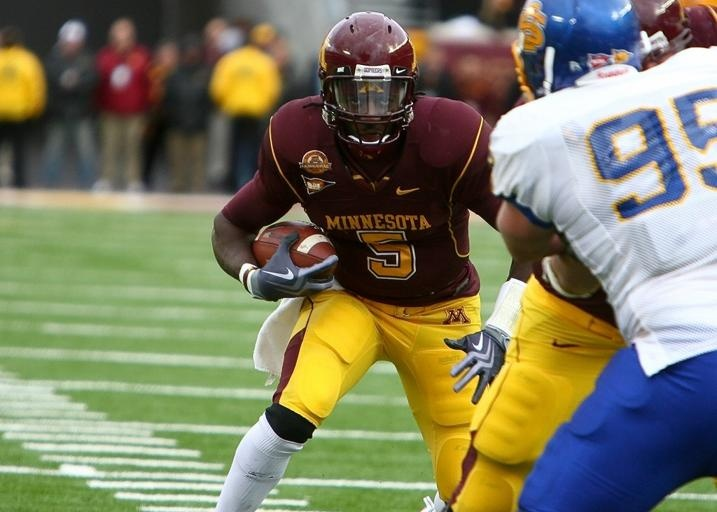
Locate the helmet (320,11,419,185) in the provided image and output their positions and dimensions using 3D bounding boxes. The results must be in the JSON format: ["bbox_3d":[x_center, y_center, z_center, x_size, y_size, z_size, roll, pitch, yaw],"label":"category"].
[{"bbox_3d":[0.021,-0.558,3.367,0.344,0.570,0.277,6,11,17],"label":"helmet"}]

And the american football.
[{"bbox_3d":[-0.208,-0.041,3.467,0.266,0.166,0.181,19,-5,26],"label":"american football"}]

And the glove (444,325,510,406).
[{"bbox_3d":[0.372,0.313,3.182,0.276,0.237,0.198,-13,17,-29],"label":"glove"}]

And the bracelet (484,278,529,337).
[{"bbox_3d":[0.494,0.166,3.262,0.125,0.192,0.142,1,14,5],"label":"bracelet"}]

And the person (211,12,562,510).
[{"bbox_3d":[0.098,-0.073,3.522,0.940,1.856,1.026,2,11,6],"label":"person"}]

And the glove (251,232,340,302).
[{"bbox_3d":[-0.156,0.008,3.445,0.243,0.237,0.423,-11,21,-36],"label":"glove"}]
